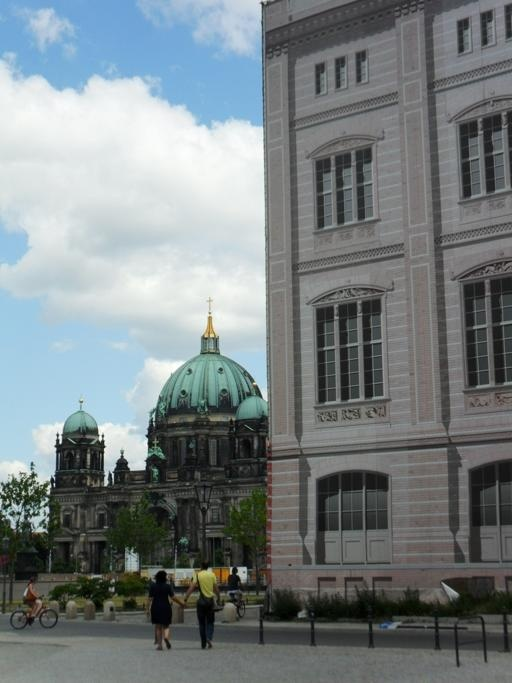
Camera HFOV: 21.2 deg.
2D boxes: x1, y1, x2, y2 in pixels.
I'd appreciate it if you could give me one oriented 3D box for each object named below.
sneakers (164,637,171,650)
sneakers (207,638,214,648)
[{"bbox_3d":[-1.921,6.620,29.919,0.123,0.357,0.140,-8,20,-4],"label":"sneakers"},{"bbox_3d":[-0.981,6.583,29.933,0.096,0.278,0.111,-3,-1,-10],"label":"sneakers"}]
